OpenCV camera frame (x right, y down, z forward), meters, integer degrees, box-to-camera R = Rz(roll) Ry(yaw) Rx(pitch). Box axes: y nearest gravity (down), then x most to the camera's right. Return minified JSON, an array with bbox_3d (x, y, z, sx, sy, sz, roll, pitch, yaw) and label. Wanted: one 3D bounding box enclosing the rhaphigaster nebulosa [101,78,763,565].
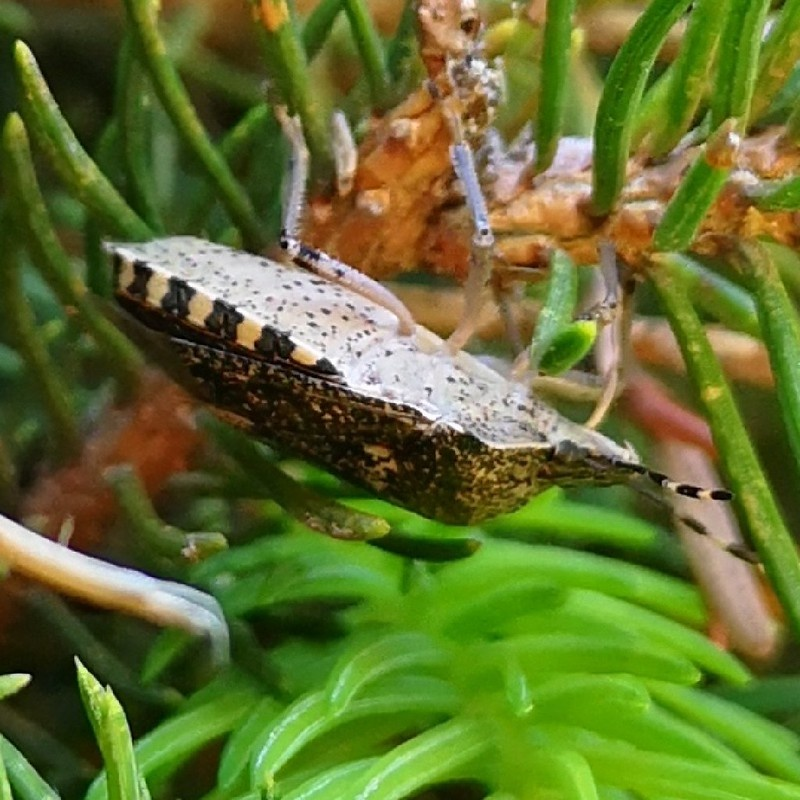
[{"bbox_3d":[-0.016,-0.020,0.588,0.260,0.064,0.181,21,33,9],"label":"rhaphigaster nebulosa"}]
